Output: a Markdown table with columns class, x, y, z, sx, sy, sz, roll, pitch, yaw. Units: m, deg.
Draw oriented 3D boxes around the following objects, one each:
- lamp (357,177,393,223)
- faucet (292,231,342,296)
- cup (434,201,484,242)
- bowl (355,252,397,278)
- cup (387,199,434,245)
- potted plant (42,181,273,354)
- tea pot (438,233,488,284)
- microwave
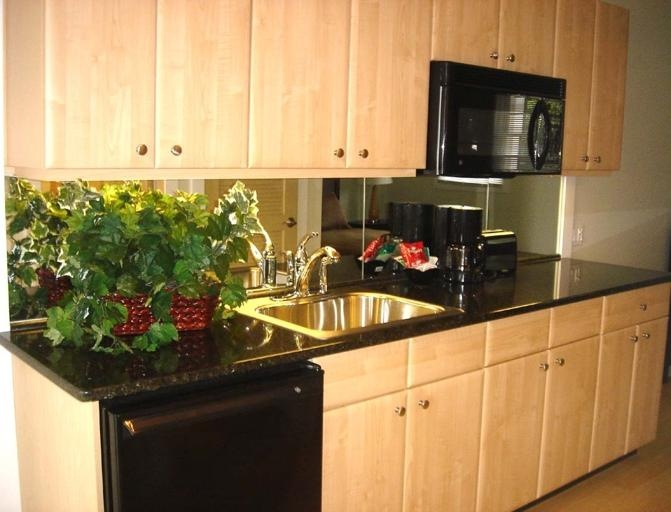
| class | x | y | z | sx | sy | sz | roll | pitch | yaw |
| --- | --- | --- | --- | --- | --- | --- | --- | --- | --- |
| lamp | 0.224 | -0.263 | 2.639 | 0.188 | 0.291 | 0.191 | 1 | 6 | 11 |
| faucet | -0.078 | 0.033 | 2.275 | 0.078 | 0.240 | 0.282 | -8 | 1 | -41 |
| cup | 0.601 | -0.166 | 2.699 | 0.191 | 0.142 | 0.181 | 0 | 11 | 0 |
| bowl | 0.201 | 0.054 | 2.678 | 0.210 | 0.111 | 0.041 | -9 | 10 | -25 |
| cup | 0.360 | -0.161 | 2.729 | 0.200 | 0.235 | 0.204 | 0 | 2 | 0 |
| potted plant | -0.604 | 0.034 | 1.878 | 0.485 | 0.434 | 0.602 | 3 | -1 | 5 |
| tea pot | 0.618 | 0.008 | 2.705 | 0.214 | 0.244 | 0.142 | 5 | 0 | -2 |
| microwave | 0.708 | -0.602 | 2.690 | 0.790 | 0.502 | 0.477 | -2 | 9 | -22 |
